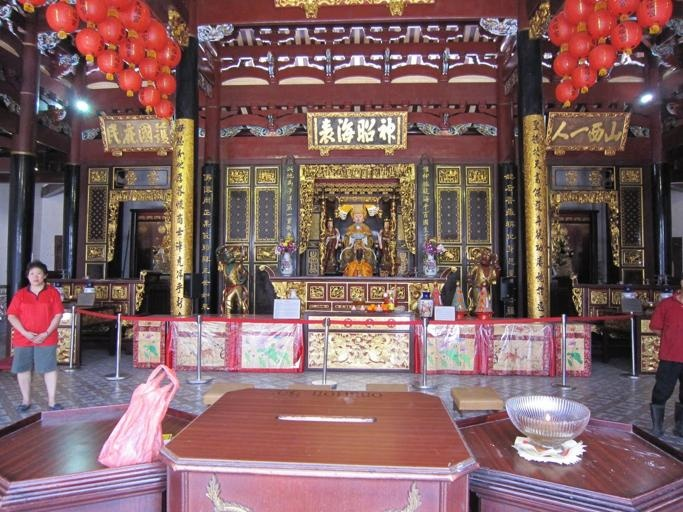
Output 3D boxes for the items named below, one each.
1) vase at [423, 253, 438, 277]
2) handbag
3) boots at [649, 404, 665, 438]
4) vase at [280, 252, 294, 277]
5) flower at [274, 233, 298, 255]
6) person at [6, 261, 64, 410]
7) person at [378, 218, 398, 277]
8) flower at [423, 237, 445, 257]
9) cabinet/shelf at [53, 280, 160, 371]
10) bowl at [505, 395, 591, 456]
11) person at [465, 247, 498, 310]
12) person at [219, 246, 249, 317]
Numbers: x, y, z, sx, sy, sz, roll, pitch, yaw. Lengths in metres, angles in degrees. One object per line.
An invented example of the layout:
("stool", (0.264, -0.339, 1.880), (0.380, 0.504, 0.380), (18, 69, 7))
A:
("vase", (1.365, 0.140, 9.023), (0.184, 0.350, 0.396), (1, -3, 5))
("handbag", (-1.207, 0.954, 3.514), (0.435, 0.570, 0.259), (2, -3, -26))
("boots", (2.881, 1.497, 5.365), (0.107, 0.284, 0.211), (-1, -3, 28))
("vase", (-0.859, 0.128, 9.433), (0.244, 0.363, 0.772), (1, -3, -6))
("flower", (-0.858, -0.175, 9.276), (0.316, 0.359, 0.305), (-8, 23, -31))
("person", (-3.035, 0.801, 5.824), (0.480, 1.488, 0.493), (3, -3, -26))
("person", (0.836, -0.173, 10.391), (0.280, 1.029, 0.625), (0, -3, 17))
("flower", (1.435, -0.142, 9.123), (0.302, 0.222, 0.318), (1, 1, 27))
("cabinet/shelf", (-3.584, 0.767, 8.503), (1.637, 1.301, 1.225), (0, -5, 0))
("bowl", (1.261, 1.024, 3.602), (0.478, 0.266, 0.302), (1, -3, 11))
("person", (2.052, 0.430, 8.472), (0.426, 1.122, 0.366), (-4, 27, 3))
("person", (-1.570, 0.346, 8.468), (0.446, 0.978, 1.485), (2, -3, -10))
